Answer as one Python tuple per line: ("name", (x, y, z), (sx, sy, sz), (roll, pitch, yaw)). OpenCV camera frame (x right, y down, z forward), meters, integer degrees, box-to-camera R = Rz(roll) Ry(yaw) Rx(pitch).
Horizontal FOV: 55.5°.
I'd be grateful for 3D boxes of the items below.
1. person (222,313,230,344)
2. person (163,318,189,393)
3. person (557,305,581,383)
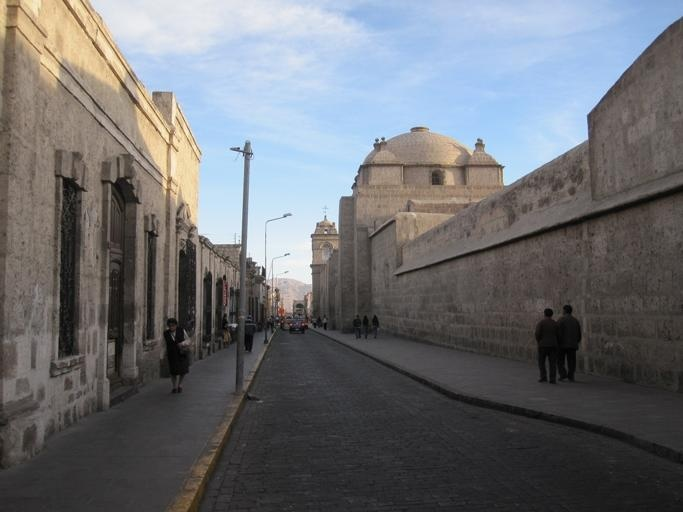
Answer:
("person", (-5.431, 3.469, 30.171), (0.302, 1.478, 1.609), (0, -2, -10))
("person", (-3.656, 2.177, 14.368), (0.539, 1.592, 0.992), (0, -2, -19))
("person", (5.260, 2.019, 15.022), (0.489, 1.762, 0.652), (-1, -1, 18))
